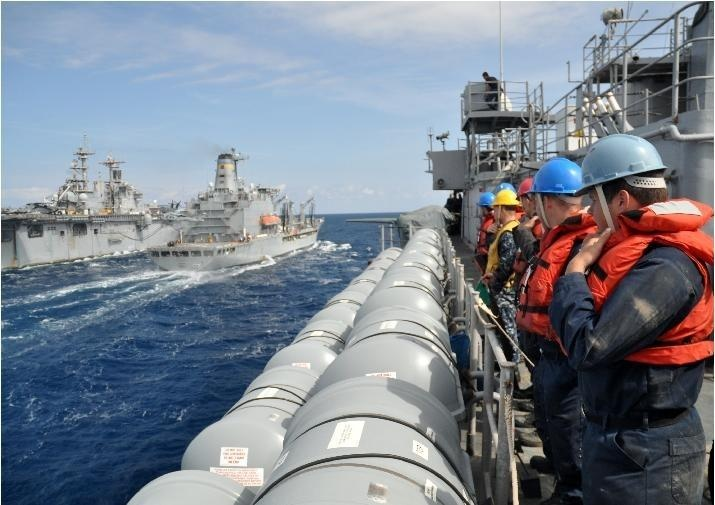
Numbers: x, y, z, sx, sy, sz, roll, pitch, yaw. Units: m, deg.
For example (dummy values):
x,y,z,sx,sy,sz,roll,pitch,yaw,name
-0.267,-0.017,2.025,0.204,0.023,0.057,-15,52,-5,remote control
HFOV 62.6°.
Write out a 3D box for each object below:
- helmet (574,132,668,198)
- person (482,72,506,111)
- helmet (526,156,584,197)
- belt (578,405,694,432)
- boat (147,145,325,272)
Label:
x,y,z,sx,sy,sz,roll,pitch,yaw,name
2.298,-0.846,5.122,0.591,0.393,0.730,-21,8,-41,helmet
4.781,-5.772,20.613,0.672,1.364,2.630,-4,7,13,person
2.226,-0.832,6.491,0.539,0.266,0.582,0,3,-10,helmet
2.312,1.356,4.740,0.431,0.086,0.354,-3,-4,-8,belt
-8.802,-3.330,47.535,5.637,6.465,19.327,1,8,17,boat
